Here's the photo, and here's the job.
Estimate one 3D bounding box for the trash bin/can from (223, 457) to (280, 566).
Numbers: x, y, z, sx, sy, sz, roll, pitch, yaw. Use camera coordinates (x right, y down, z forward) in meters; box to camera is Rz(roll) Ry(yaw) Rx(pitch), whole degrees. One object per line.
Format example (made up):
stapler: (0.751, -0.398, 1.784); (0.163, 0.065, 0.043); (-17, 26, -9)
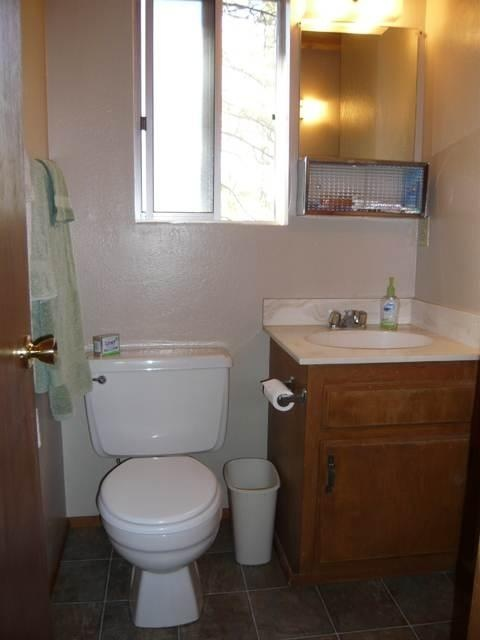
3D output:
trash bin/can: (0.042, 0.652, 1.988); (0.204, 0.448, 0.325); (1, -4, -2)

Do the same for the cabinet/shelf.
cabinet/shelf: (0.371, 0.358, 1.892); (0.543, 1.077, 0.599); (-1, 8, -6)

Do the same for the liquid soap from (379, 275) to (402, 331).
liquid soap: (0.585, -0.065, 2.083); (0.065, 0.196, 0.145); (1, 6, 14)

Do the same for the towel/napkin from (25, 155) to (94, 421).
towel/napkin: (-0.534, -0.082, 1.530); (0.110, 0.747, 0.430); (-1, 6, -5)

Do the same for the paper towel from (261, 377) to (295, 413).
paper towel: (0.125, 0.265, 1.710); (0.096, 0.136, 0.232); (0, 7, 1)

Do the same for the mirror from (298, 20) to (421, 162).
mirror: (0.426, -0.861, 1.986); (0.408, 0.571, 0.039); (-1, 10, -7)
